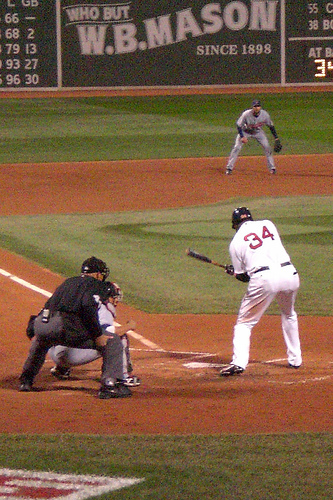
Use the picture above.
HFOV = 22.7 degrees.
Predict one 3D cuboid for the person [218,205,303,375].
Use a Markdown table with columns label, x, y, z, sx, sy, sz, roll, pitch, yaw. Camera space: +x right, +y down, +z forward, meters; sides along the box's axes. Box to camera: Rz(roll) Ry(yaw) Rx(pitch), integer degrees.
| label | x | y | z | sx | sy | sz | roll | pitch | yaw |
| --- | --- | --- | --- | --- | --- | --- | --- | --- | --- |
| person | 0.878 | 0.500 | 8.222 | 0.998 | 1.546 | 0.538 | -10 | 16 | -39 |

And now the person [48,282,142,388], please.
| label | x | y | z | sx | sy | sz | roll | pitch | yaw |
| --- | --- | --- | --- | --- | --- | --- | --- | --- | --- |
| person | -0.699 | 0.842 | 7.858 | 0.731 | 0.850 | 0.903 | -8 | 15 | -27 |

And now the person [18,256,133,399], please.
| label | x | y | z | sx | sy | sz | roll | pitch | yaw |
| --- | --- | --- | --- | --- | --- | --- | --- | --- | --- |
| person | -0.878 | 0.709 | 7.762 | 1.196 | 1.210 | 0.942 | 4 | -3 | 28 |

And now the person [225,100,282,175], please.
| label | x | y | z | sx | sy | sz | roll | pitch | yaw |
| --- | --- | --- | --- | --- | --- | --- | --- | --- | --- |
| person | 1.475 | -2.010 | 14.493 | 0.893 | 1.185 | 1.431 | 2 | 11 | 11 |

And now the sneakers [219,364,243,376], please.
| label | x | y | z | sx | sy | sz | roll | pitch | yaw |
| --- | --- | --- | --- | --- | --- | --- | --- | --- | --- |
| sneakers | 0.630 | 1.168 | 8.037 | 0.225 | 0.146 | 0.121 | 2 | 12 | 13 |

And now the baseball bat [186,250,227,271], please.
| label | x | y | z | sx | sy | sz | roll | pitch | yaw |
| --- | --- | --- | --- | --- | --- | --- | --- | --- | --- |
| baseball bat | 0.548 | 0.150 | 11.553 | 0.547 | 0.107 | 0.097 | 22 | -50 | -18 |

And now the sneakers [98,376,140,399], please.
| label | x | y | z | sx | sy | sz | roll | pitch | yaw |
| --- | --- | --- | --- | --- | --- | --- | --- | --- | --- |
| sneakers | -0.423 | 1.254 | 7.619 | 0.332 | 0.119 | 0.191 | 0 | -7 | -19 |
